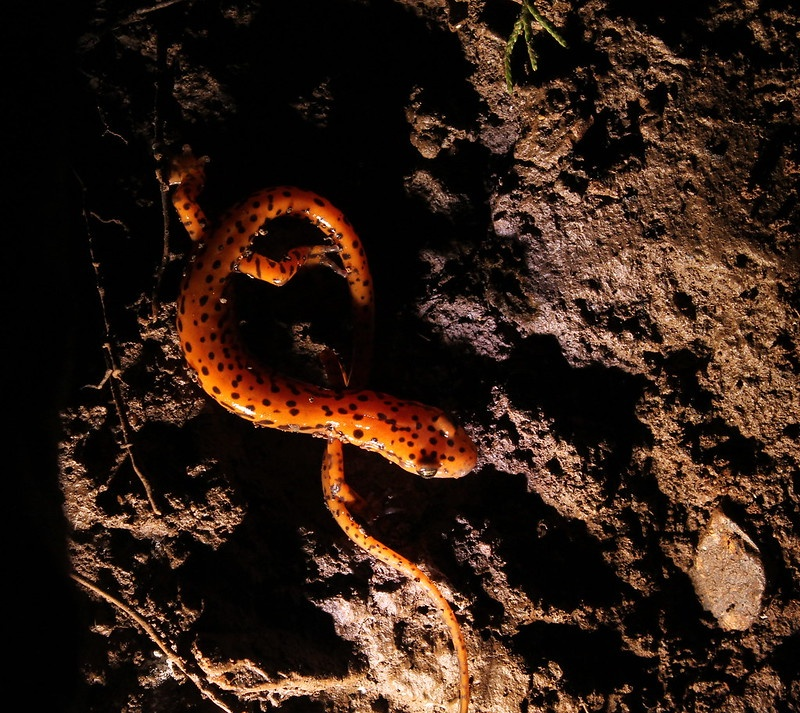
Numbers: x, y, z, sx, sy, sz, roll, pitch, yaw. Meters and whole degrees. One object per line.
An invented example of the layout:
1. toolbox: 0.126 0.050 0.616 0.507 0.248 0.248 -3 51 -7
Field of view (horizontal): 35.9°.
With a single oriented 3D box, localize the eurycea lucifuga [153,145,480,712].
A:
1. eurycea lucifuga: -0.490 0.030 7.664 2.639 1.509 1.065 30 39 10
